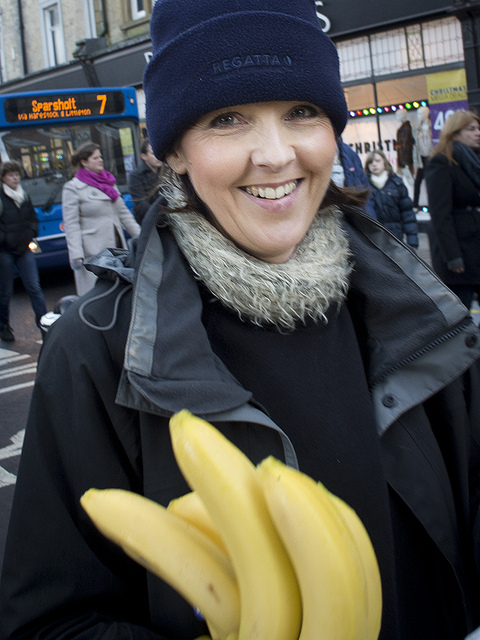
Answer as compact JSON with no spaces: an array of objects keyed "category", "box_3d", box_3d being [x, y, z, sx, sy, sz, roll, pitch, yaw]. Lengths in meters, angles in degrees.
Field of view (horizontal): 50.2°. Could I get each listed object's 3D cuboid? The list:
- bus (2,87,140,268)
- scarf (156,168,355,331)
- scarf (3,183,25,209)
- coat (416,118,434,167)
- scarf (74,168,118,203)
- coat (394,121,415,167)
[{"category":"bus","box_3d":[-4.603,-3.410,11.991,2.171,2.923,6.147,-5,7,-39]},{"category":"scarf","box_3d":[0.040,-0.130,1.144,0.392,0.352,0.479,-5,22,-23]},{"category":"scarf","box_3d":[-3.252,-1.804,7.388,0.235,0.308,0.119,-9,7,-26]},{"category":"coat","box_3d":[3.848,-3.703,10.680,0.335,0.972,0.514,-2,11,19]},{"category":"scarf","box_3d":[-1.881,-1.841,6.814,0.534,0.222,0.391,25,10,-24]},{"category":"coat","box_3d":[3.574,-3.790,11.025,0.172,0.954,0.440,-13,13,-36]}]
